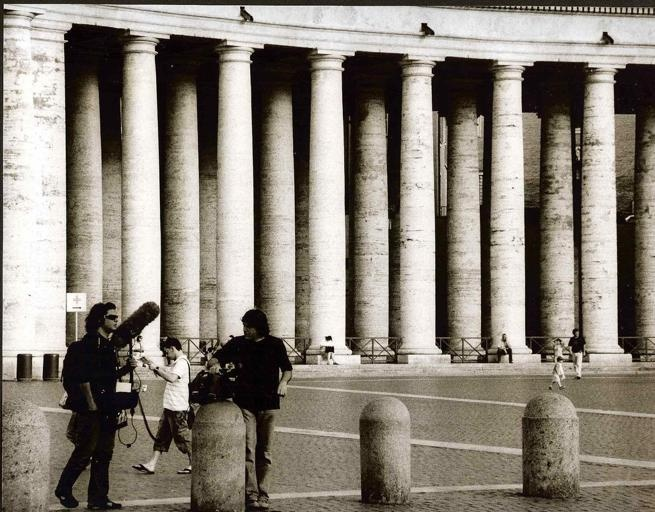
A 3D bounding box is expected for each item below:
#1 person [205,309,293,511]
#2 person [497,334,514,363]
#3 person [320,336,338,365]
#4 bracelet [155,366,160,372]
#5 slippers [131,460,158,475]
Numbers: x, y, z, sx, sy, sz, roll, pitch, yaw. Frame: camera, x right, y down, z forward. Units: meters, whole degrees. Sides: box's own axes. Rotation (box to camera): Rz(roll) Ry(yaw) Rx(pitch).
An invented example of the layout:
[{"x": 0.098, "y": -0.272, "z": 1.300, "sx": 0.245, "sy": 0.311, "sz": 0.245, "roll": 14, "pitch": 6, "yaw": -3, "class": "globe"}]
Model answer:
[{"x": -1.456, "y": 2.991, "z": 26.855, "sx": 1.353, "sy": 3.846, "sz": 0.633, "roll": 3, "pitch": -3, "yaw": -3, "class": "person"}, {"x": 7.634, "y": 3.929, "z": 58.630, "sx": 0.674, "sy": 1.229, "sz": 0.707, "roll": 2, "pitch": -3, "yaw": 6, "class": "person"}, {"x": 0.069, "y": 3.826, "z": 56.086, "sx": 0.693, "sy": 1.149, "sz": 1.053, "roll": 3, "pitch": -3, "yaw": -8, "class": "person"}, {"x": -3.582, "y": 2.351, "z": 28.542, "sx": 0.088, "sy": 0.085, "sz": 0.088, "roll": 5, "pitch": 13, "yaw": 43, "class": "bracelet"}, {"x": -3.971, "y": 4.524, "z": 29.388, "sx": 0.495, "sy": 0.149, "sz": 0.253, "roll": 10, "pitch": -6, "yaw": 8, "class": "slippers"}]
